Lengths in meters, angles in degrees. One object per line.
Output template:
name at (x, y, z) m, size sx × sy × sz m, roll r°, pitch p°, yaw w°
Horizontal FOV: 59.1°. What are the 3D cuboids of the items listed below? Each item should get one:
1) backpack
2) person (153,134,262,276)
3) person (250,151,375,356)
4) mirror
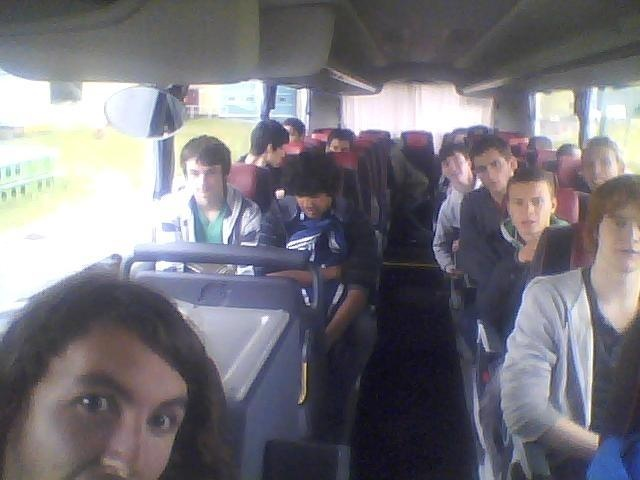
backpack at (-0.019, 0.152, 3.209) m, size 0.355 × 0.539 × 0.213 m, roll 4°, pitch 3°, yaw 22°
person at (-0.602, -0.172, 2.902) m, size 0.531 × 0.893 × 0.603 m, roll 0°, pitch 23°, yaw -7°
person at (0.047, -0.024, 3.268) m, size 0.519 × 0.948 × 0.675 m, roll -11°, pitch 17°, yaw -39°
mirror at (-0.471, -0.341, 1.520) m, size 0.035 × 0.145 × 0.247 m, roll 15°, pitch 6°, yaw 27°
